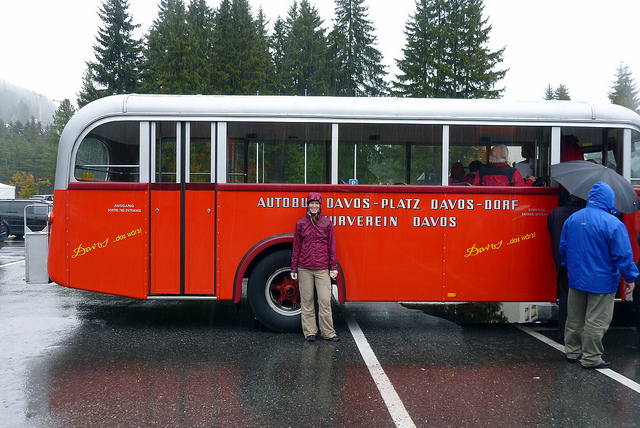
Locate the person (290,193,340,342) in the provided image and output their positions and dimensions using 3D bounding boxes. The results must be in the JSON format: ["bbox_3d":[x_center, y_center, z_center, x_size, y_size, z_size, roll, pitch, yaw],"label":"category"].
[{"bbox_3d":[-0.081,0.927,9.340,0.807,2.520,0.458,-1,11,-5],"label":"person"}]

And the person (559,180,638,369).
[{"bbox_3d":[4.410,0.979,8.687,0.911,2.857,0.727,0,11,0],"label":"person"}]

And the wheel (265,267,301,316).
[{"bbox_3d":[-0.672,1.362,9.714,0.719,0.843,0.247,5,0,-2],"label":"wheel"}]

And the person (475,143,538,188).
[{"bbox_3d":[3.412,-0.803,9.995,1.165,1.021,0.688,10,16,33],"label":"person"}]
